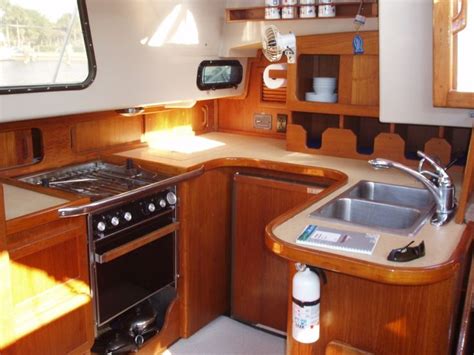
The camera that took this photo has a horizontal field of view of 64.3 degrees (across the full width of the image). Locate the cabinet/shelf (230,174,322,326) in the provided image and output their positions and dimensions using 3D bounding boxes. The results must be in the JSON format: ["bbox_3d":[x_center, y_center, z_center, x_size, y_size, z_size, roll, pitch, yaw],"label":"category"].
[{"bbox_3d":[0.362,0.509,2.861,0.719,1.125,0.739,6,4,15],"label":"cabinet/shelf"}]

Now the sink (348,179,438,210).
[{"bbox_3d":[0.849,0.100,2.070,0.279,0.089,0.226,11,25,31],"label":"sink"}]

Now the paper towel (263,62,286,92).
[{"bbox_3d":[0.282,-0.772,2.892,0.203,0.176,0.235,19,19,20],"label":"paper towel"}]

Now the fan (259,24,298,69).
[{"bbox_3d":[0.233,-0.870,2.511,0.251,0.346,0.259,-13,20,-27],"label":"fan"}]

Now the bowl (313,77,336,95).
[{"bbox_3d":[0.624,-0.652,2.712,0.136,0.092,0.134,-2,11,0],"label":"bowl"}]

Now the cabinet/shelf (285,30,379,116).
[{"bbox_3d":[0.652,-0.718,2.579,0.569,0.437,0.290,8,15,34],"label":"cabinet/shelf"}]

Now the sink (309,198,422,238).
[{"bbox_3d":[0.662,0.187,1.820,0.301,0.116,0.239,9,22,35],"label":"sink"}]

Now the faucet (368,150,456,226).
[{"bbox_3d":[0.783,-0.001,1.813,0.447,0.307,0.300,13,28,31],"label":"faucet"}]
